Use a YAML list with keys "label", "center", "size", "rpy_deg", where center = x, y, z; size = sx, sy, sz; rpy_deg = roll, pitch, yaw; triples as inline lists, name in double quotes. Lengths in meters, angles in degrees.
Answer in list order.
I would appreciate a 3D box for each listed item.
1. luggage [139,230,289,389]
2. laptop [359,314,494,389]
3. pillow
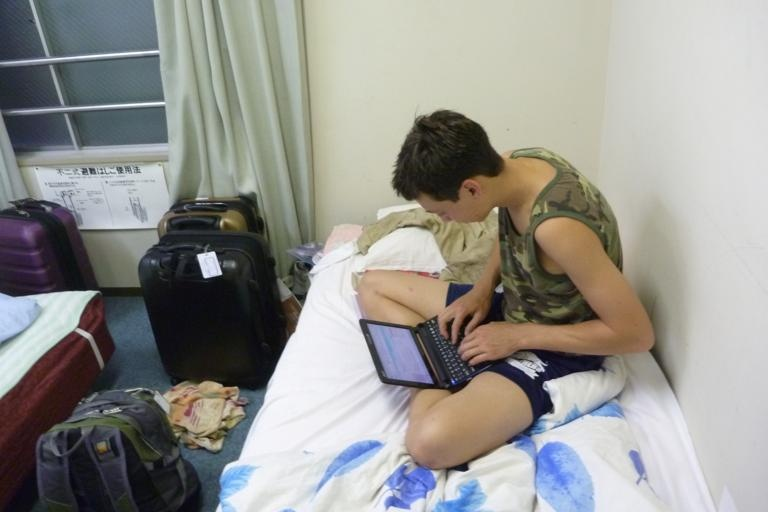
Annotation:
- label: "luggage"
  center: [-0.825, 0.273, 2.551]
  size: [0.591, 0.781, 0.420]
  rpy_deg: [4, 28, 5]
- label: "laptop"
  center: [0.140, 0.383, 2.043]
  size: [0.355, 0.109, 0.268]
  rpy_deg: [-24, 46, 4]
- label: "pillow"
  center: [0.232, -0.102, 2.542]
  size: [0.493, 0.426, 0.139]
  rpy_deg: [-1, -21, 3]
